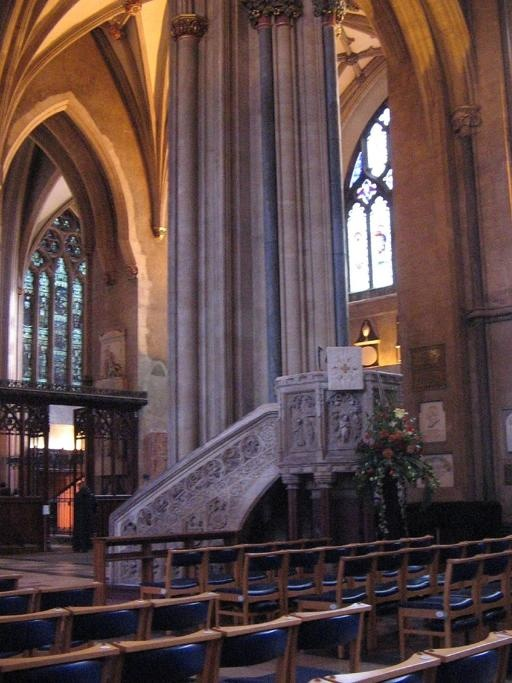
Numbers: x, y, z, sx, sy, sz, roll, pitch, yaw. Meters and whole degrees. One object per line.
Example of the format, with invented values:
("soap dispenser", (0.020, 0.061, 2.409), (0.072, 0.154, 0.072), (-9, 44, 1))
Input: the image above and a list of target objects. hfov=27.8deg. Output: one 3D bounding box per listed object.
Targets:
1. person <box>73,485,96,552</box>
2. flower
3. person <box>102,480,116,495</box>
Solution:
("person", (-3.187, 3.269, 19.186), (0.428, 1.097, 0.315), (-2, -9, 14))
("flower", (1.290, 1.188, 9.595), (0.731, 1.250, 0.483), (-4, -7, -2))
("person", (-3.465, 3.335, 24.012), (0.315, 0.398, 0.780), (-3, -7, -8))
